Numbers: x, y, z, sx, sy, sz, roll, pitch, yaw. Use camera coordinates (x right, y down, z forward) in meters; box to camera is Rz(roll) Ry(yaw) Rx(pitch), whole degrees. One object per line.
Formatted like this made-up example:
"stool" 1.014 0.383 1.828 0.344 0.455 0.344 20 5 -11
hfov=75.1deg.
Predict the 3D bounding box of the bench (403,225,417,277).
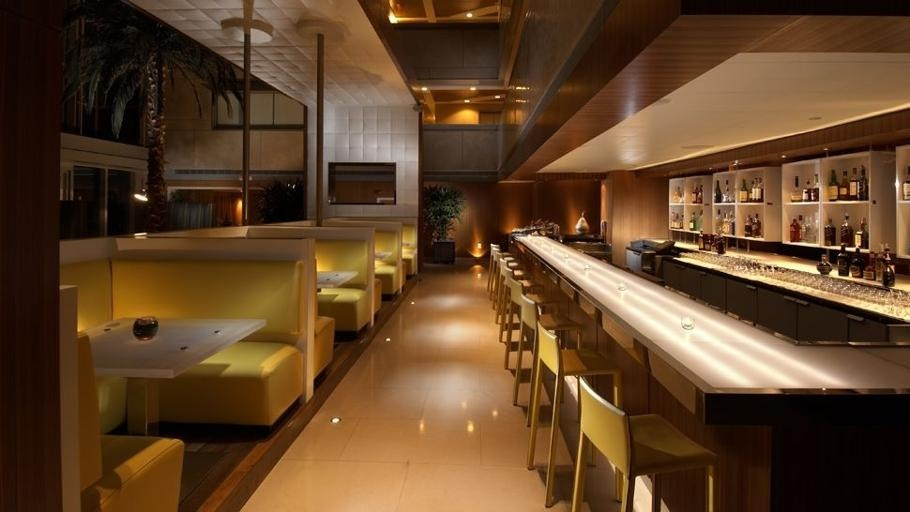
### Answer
"bench" -0.914 -0.068 12.157 0.293 1.058 0.705 -3 15 -3

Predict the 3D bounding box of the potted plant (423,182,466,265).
"potted plant" -0.295 -0.740 15.248 0.942 2.065 1.286 -3 15 -4

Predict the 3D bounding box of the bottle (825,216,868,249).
"bottle" 4.067 -0.230 6.151 0.364 0.327 0.116 1 3 20

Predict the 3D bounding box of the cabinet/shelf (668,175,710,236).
"cabinet/shelf" 3.798 -0.818 9.587 0.333 0.964 1.104 -1 1 -4

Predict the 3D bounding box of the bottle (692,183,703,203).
"bottle" 3.821 -0.977 9.375 0.133 0.299 0.351 1 15 12

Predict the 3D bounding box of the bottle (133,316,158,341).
"bottle" -2.263 0.545 4.354 0.140 0.144 0.178 2 -7 -9

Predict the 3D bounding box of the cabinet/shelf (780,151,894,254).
"cabinet/shelf" 4.056 -0.574 6.252 0.364 1.004 1.172 -1 0 -9

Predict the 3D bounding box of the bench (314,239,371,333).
"bench" -1.659 0.396 7.611 0.998 1.019 0.836 4 14 4

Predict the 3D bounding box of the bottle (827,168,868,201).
"bottle" 4.054 -0.736 6.107 0.229 0.366 0.510 -1 14 3

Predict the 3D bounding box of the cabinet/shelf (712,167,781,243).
"cabinet/shelf" 3.892 -0.672 7.877 0.302 0.969 1.139 1 0 0

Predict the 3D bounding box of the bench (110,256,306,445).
"bench" -2.221 0.695 5.684 1.896 1.673 1.410 0 -3 1
